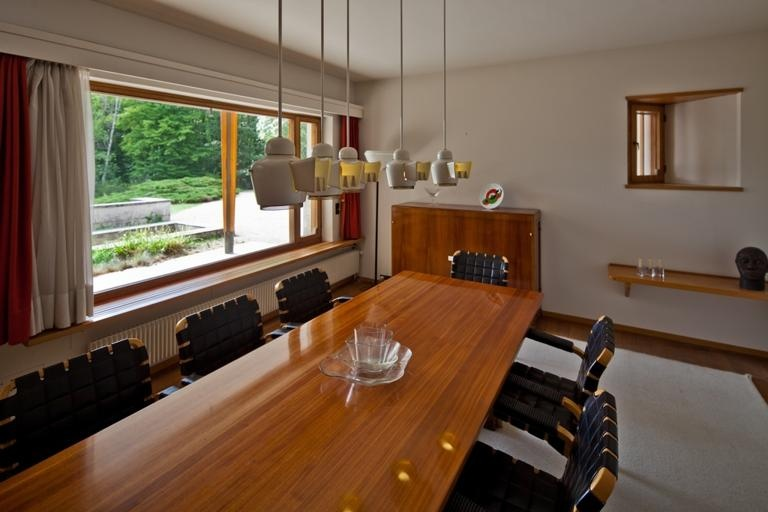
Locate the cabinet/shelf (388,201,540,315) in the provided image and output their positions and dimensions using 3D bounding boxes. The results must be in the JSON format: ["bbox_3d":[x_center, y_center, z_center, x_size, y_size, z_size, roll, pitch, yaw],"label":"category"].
[{"bbox_3d":[0.922,-0.010,5.166,1.226,1.194,0.437,4,9,31],"label":"cabinet/shelf"}]

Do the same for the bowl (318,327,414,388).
[{"bbox_3d":[-0.099,0.582,3.151,0.396,0.140,0.401,-3,13,1],"label":"bowl"}]

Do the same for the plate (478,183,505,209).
[{"bbox_3d":[1.347,-0.749,6.001,0.295,0.315,0.082,-2,-11,42],"label":"plate"}]

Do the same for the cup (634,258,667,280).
[{"bbox_3d":[2.912,0.137,5.241,0.081,0.180,0.207,-5,6,-39],"label":"cup"}]

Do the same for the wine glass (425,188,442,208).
[{"bbox_3d":[0.642,-0.777,6.244,0.213,0.174,0.212,4,14,20],"label":"wine glass"}]

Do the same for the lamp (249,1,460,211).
[{"bbox_3d":[-0.282,-1.639,4.967,0.712,2.014,1.988,3,4,36],"label":"lamp"}]
